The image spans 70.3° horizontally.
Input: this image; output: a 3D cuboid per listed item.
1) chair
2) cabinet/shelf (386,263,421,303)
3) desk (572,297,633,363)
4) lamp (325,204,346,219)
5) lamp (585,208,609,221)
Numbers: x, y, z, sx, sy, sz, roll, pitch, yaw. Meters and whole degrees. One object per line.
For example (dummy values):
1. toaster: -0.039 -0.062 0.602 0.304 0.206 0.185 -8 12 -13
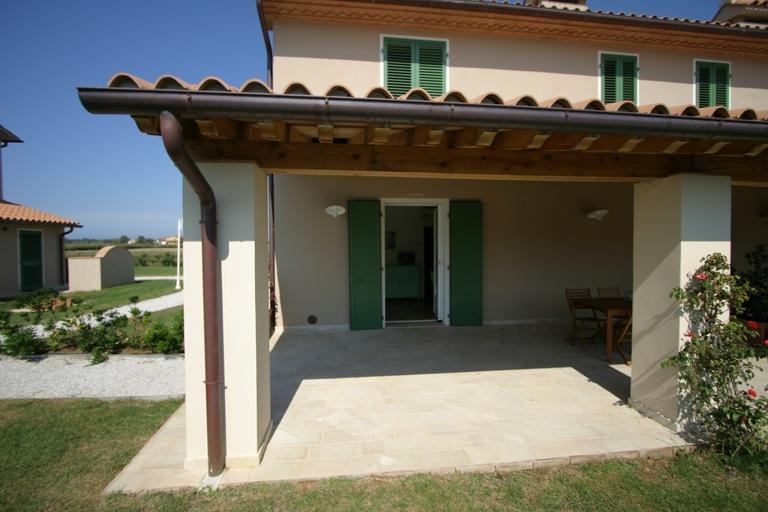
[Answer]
1. chair: 4.947 1.341 12.684 1.191 1.817 1.419 1 -9 1
2. cabinet/shelf: 0.594 0.843 16.432 1.074 0.964 0.351 0 -1 -9
3. desk: 4.597 1.674 11.194 1.121 0.759 1.552 0 1 3
4. lamp: -1.110 -1.047 12.731 0.490 0.238 0.113 -2 1 -7
5. lamp: 5.209 -0.997 13.276 0.416 0.150 0.308 -6 10 -17
